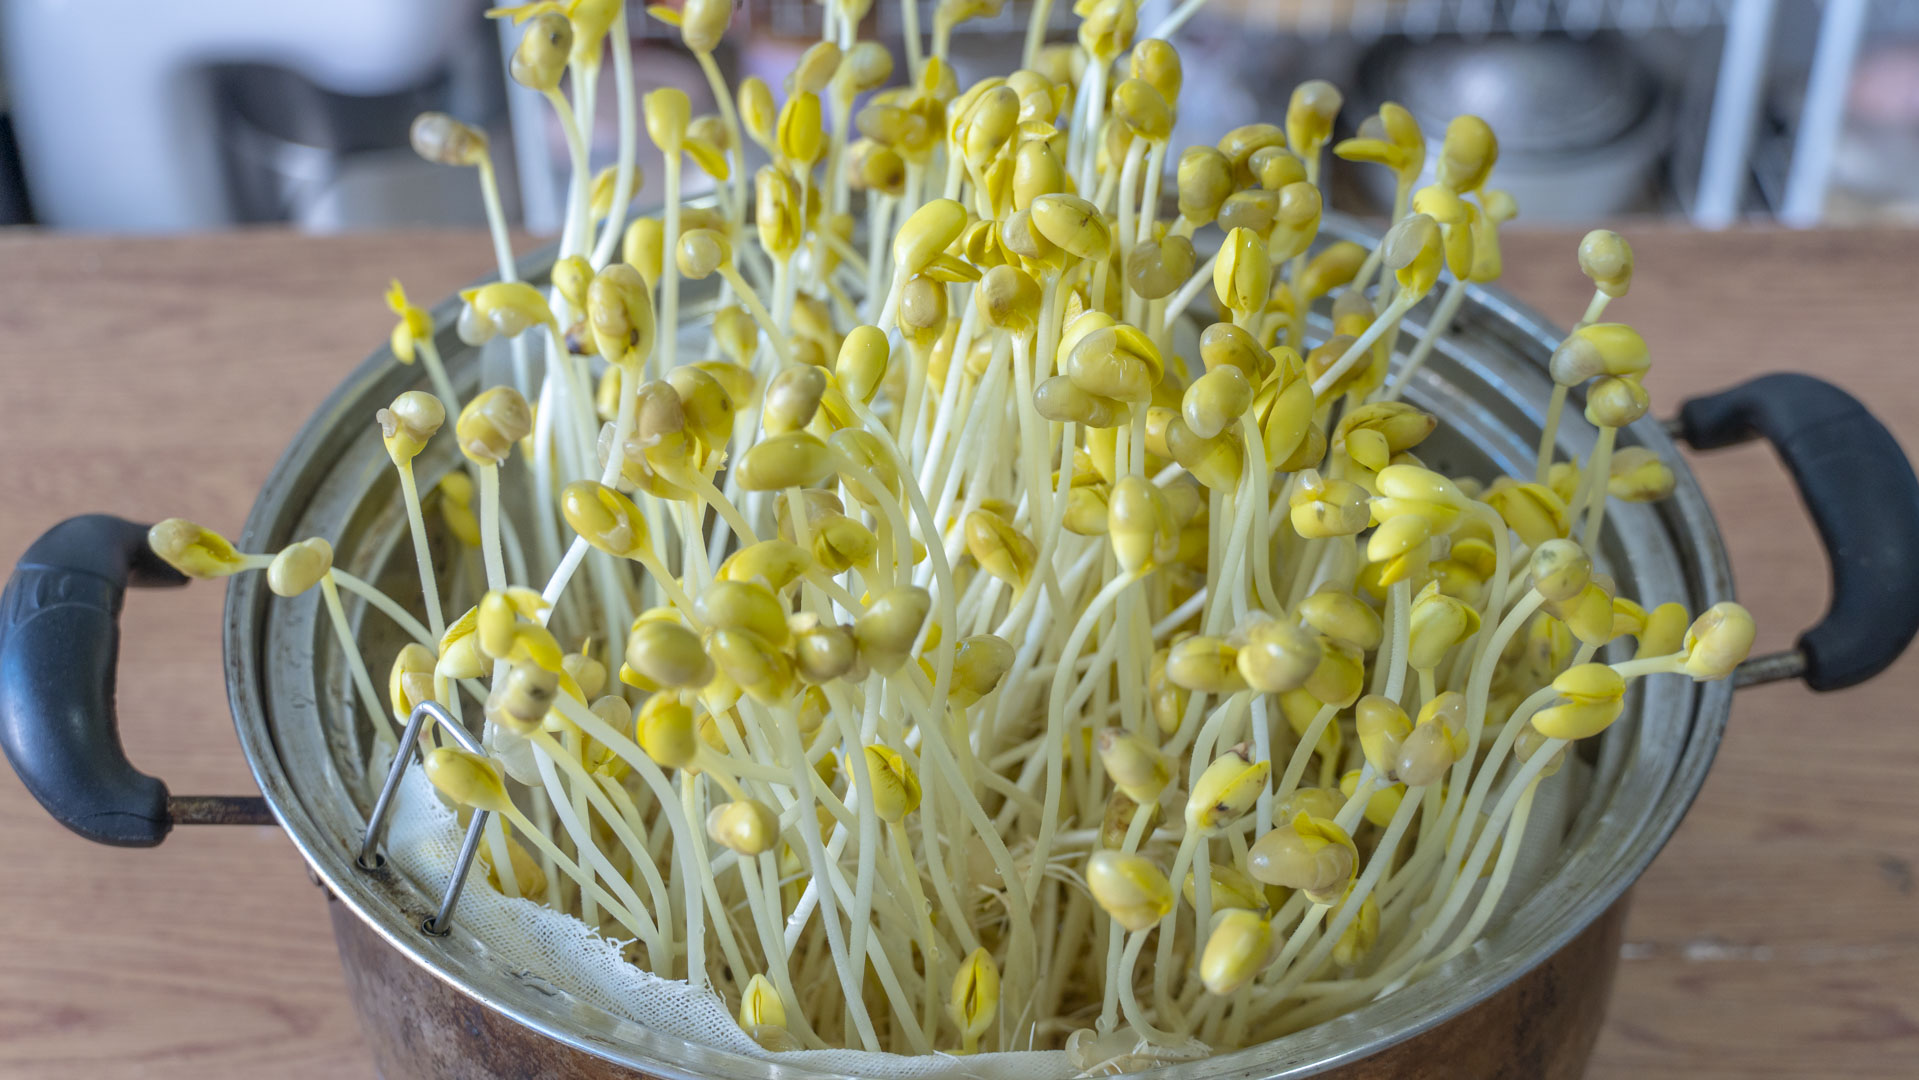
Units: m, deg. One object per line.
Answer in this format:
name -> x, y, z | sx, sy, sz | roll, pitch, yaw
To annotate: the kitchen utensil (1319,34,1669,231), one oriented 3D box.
kitchen utensil -> 0.603, -0.444, 2.376 | 0.405, 0.284, 0.144 | -1, 2, 6
